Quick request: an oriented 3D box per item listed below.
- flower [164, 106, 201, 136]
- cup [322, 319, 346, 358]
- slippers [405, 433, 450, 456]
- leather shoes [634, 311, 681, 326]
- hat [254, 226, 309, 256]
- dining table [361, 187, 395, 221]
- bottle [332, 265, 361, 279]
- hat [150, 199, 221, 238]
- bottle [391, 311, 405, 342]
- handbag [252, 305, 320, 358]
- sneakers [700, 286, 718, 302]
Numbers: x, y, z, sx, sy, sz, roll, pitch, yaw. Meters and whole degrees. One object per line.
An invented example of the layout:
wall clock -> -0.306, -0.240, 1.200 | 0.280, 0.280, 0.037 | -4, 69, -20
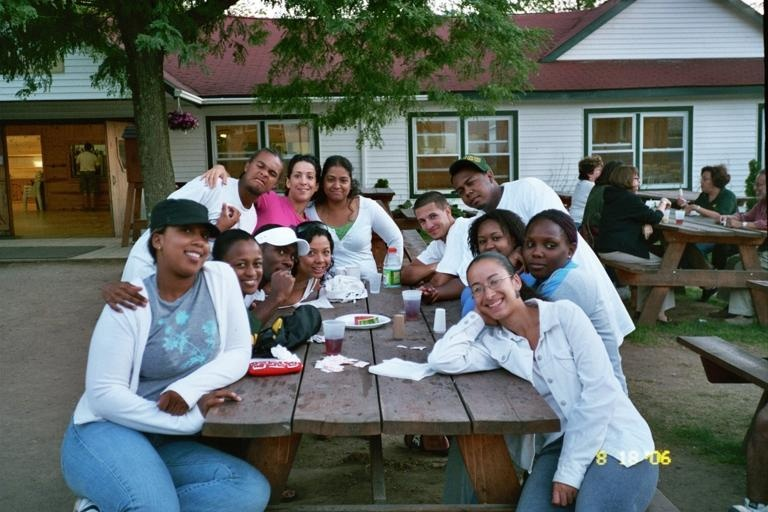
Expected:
flower -> -4.111, -2.758, 12.552 | 0.519, 0.368, 0.338 | -3, 9, -13
cup -> -0.328, 0.536, 4.020 | 0.220, 0.216, 0.210 | 1, 2, 0
slippers -> 0.360, 1.560, 5.131 | 0.300, 0.135, 0.355 | 4, 10, -2
leather shoes -> 3.379, 0.775, 7.725 | 0.616, 0.245, 0.195 | -2, 1, 2
hat -> -0.807, -0.123, 4.911 | 0.348, 0.122, 0.235 | 3, 0, 27
dining table -> -0.070, -1.022, 10.712 | 0.800, 0.727, 0.744 | -1, 14, -2
bottle -> -0.336, 0.142, 5.709 | 0.206, 0.120, 0.113 | -2, 4, -2
hat -> -1.254, -0.225, 3.831 | 0.334, 0.145, 0.245 | -1, -2, 15
bottle -> 0.131, 0.496, 4.441 | 0.153, 0.201, 0.149 | -2, 6, 0
handbag -> -0.667, 0.512, 4.235 | 0.429, 0.158, 0.328 | -10, 15, -18
sneakers -> 4.583, 0.536, 8.727 | 0.205, 0.211, 0.239 | 1, -4, 13
